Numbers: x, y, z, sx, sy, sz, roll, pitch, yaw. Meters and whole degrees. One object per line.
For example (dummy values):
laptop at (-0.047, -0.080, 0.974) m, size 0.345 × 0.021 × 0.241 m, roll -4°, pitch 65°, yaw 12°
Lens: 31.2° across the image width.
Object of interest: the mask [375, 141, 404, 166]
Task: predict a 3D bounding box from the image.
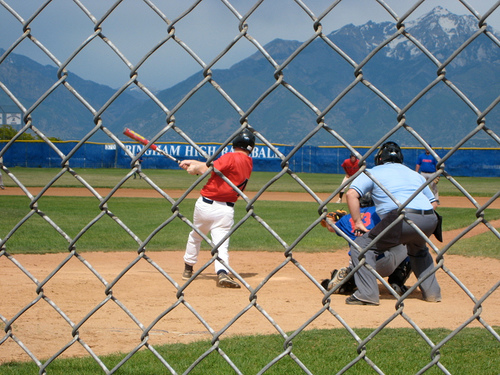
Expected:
mask at (1.797, -0.458, 11.285) m, size 0.292 × 0.332 × 0.337 m, roll 4°, pitch 10°, yaw 8°

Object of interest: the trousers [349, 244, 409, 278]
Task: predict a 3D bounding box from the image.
trousers at (1.636, 0.939, 11.409) m, size 0.706 × 0.400 × 0.760 m, roll 0°, pitch 3°, yaw 9°

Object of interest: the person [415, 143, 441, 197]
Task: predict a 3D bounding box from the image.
person at (4.121, -0.316, 20.864) m, size 0.616 × 1.375 × 0.487 m, roll 3°, pitch 20°, yaw 21°
